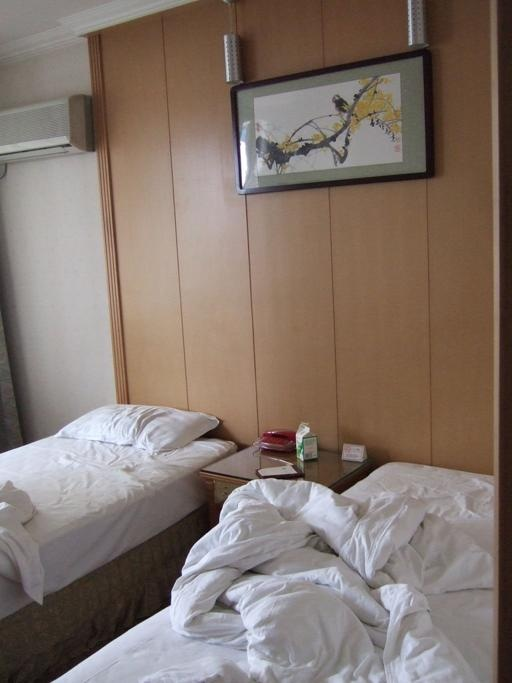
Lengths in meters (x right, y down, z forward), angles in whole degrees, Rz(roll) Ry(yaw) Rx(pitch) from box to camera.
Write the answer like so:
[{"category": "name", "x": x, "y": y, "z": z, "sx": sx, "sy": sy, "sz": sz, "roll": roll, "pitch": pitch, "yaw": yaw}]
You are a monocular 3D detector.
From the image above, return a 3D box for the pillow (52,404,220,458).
[{"category": "pillow", "x": -0.646, "y": 0.453, "z": 3.054, "sx": 0.534, "sy": 0.103, "sz": 0.331, "roll": 5, "pitch": 24, "yaw": 30}]
